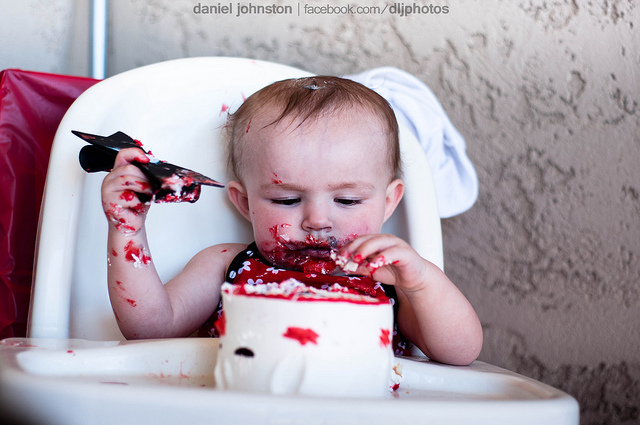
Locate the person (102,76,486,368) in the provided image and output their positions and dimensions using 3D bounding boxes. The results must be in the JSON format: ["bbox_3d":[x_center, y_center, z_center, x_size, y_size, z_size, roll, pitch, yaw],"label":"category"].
[{"bbox_3d":[-0.102,0.016,1.498,0.682,0.465,0.852,0,55,-4],"label":"person"}]

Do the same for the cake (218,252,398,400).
[{"bbox_3d":[-0.066,0.195,1.287,0.292,0.272,0.291,-1,22,-25],"label":"cake"}]

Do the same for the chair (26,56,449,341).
[{"bbox_3d":[-0.251,-0.035,1.730,0.711,0.936,0.761,6,79,-11],"label":"chair"}]
